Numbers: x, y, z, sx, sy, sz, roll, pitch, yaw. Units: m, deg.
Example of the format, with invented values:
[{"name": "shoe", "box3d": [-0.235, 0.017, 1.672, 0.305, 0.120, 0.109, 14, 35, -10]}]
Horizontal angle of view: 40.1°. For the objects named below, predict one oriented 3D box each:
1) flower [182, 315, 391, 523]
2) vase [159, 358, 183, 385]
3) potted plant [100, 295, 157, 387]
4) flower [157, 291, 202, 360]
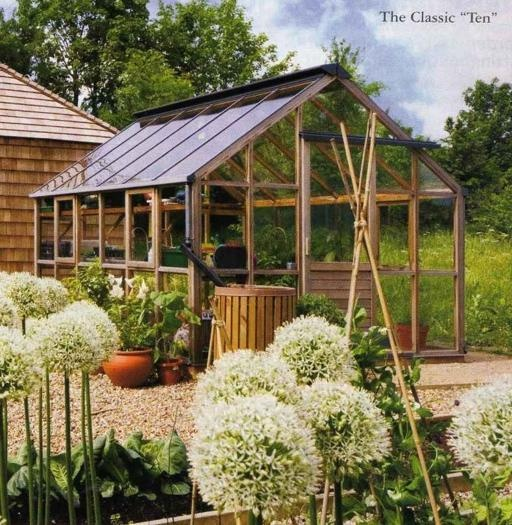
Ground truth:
[{"name": "flower", "box3d": [0.085, 0.384, 1.603, 0.420, 0.487, 0.724, 0, -4, 13]}, {"name": "vase", "box3d": [-0.845, 1.082, 7.009, 0.210, 0.167, 0.206, 1, -1, -40]}, {"name": "potted plant", "box3d": [-1.241, 0.783, 6.941, 0.478, 0.878, 0.500, 4, 0, 23]}, {"name": "flower", "box3d": [-0.838, 0.655, 7.101, 0.416, 0.550, 0.578, 7, -9, 0]}]
